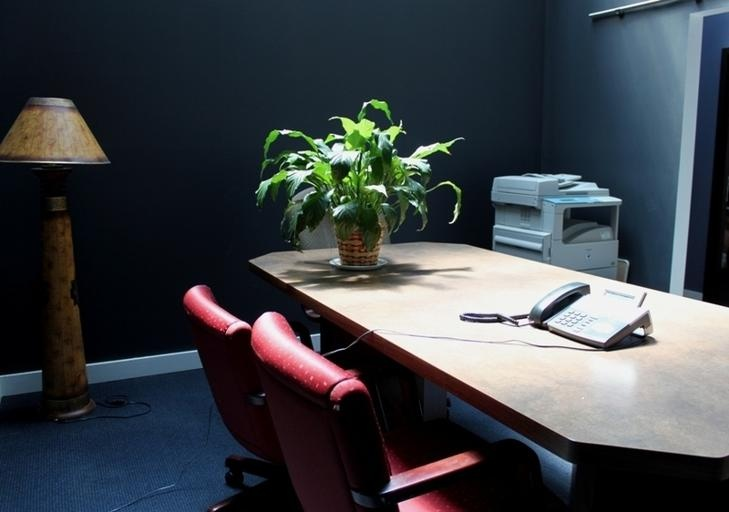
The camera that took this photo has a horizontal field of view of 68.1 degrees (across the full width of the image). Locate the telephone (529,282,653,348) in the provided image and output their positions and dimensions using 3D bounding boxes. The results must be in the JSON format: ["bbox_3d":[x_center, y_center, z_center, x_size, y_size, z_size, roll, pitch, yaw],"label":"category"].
[{"bbox_3d":[0.802,0.198,1.916,0.337,0.128,0.355,-8,12,-32],"label":"telephone"}]

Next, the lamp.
[{"bbox_3d":[-1.698,0.038,3.060,0.458,1.821,0.350,1,12,13],"label":"lamp"}]

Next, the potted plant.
[{"bbox_3d":[-0.096,-0.466,3.173,1.108,0.869,1.124,-2,8,-21],"label":"potted plant"}]
